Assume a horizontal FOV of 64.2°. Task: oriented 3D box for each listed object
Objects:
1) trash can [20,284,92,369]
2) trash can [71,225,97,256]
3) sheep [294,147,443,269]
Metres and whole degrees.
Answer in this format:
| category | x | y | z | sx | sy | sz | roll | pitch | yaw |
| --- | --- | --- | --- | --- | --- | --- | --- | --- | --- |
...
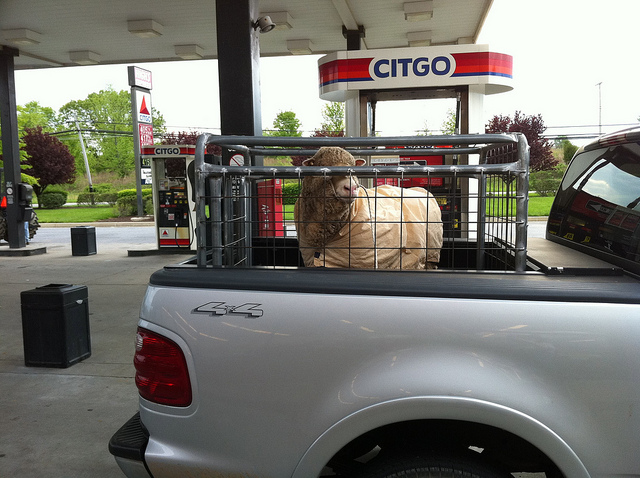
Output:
| category | x | y | z | sx | sy | sz | roll | pitch | yaw |
| --- | --- | --- | --- | --- | --- | --- | --- | --- | --- |
| trash can | -2.933 | 0.925 | 5.648 | 0.655 | 0.819 | 0.658 | 0 | 0 | -33 |
| trash can | -6.336 | 0.048 | 13.647 | 0.735 | 0.727 | 0.745 | 3 | 6 | 45 |
| sheep | 0.340 | -0.167 | 3.417 | 1.029 | 0.824 | 0.696 | -8 | 9 | -38 |
